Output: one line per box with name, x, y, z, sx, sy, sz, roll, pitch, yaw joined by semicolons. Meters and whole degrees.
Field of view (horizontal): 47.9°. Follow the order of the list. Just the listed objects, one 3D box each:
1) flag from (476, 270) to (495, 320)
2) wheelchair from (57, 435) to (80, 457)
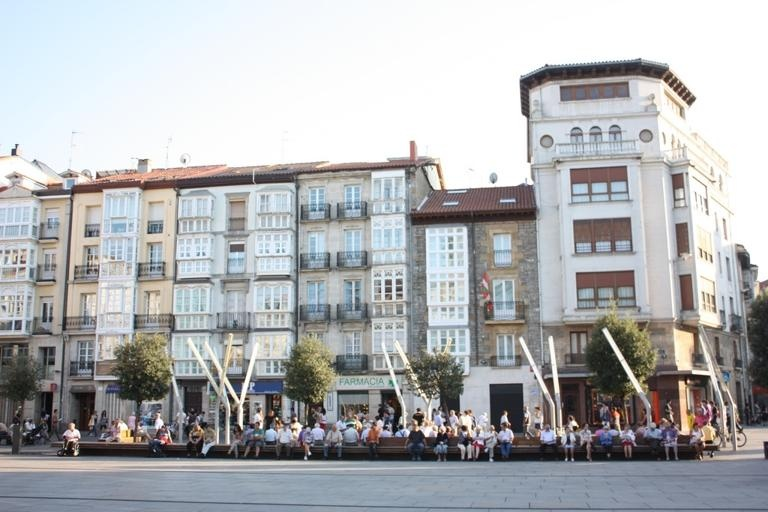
flag;7.445;2.787;62.845;0.985;3.534;1.673;-4;-14;5
wheelchair;-17.323;10.460;47.457;0.869;1.137;1.386;2;5;7
